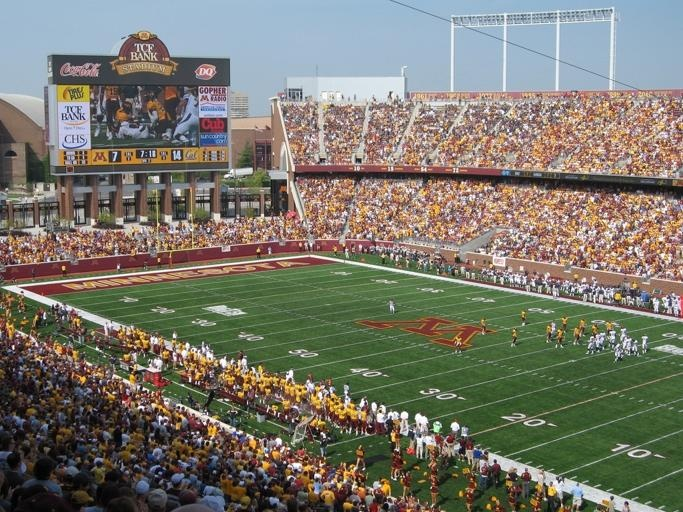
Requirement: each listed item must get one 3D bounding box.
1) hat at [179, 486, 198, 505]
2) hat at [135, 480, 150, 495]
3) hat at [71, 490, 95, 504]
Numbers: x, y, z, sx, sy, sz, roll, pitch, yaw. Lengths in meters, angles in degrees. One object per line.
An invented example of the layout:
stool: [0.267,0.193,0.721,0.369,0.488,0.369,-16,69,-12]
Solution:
hat: [-4.572,7.294,34.734,0.458,0.439,0.501,37,4,-14]
hat: [-5.985,6.939,34.836,0.382,0.318,0.464,-4,14,-14]
hat: [-7.700,7.217,34.518,0.537,0.499,0.385,-4,33,-35]
